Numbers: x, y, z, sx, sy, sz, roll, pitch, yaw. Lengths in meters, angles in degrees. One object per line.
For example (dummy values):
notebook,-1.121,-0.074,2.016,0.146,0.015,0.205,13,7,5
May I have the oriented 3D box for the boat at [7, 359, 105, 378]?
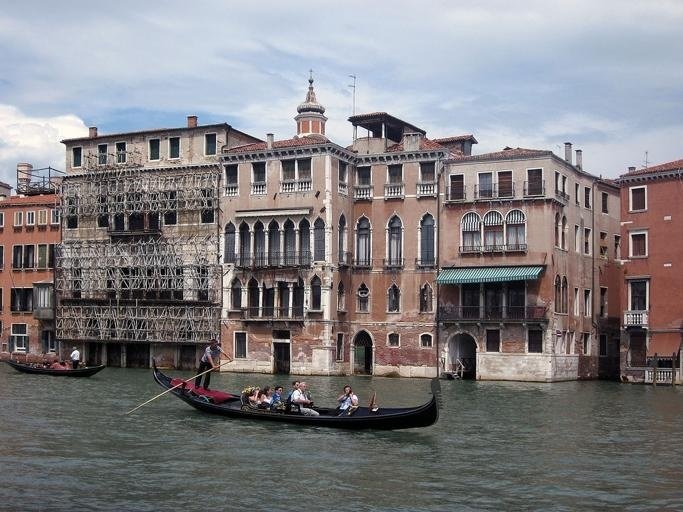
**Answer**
boat,-17.942,7.136,85.883,6.314,1.127,2.118,-5,-16,35
